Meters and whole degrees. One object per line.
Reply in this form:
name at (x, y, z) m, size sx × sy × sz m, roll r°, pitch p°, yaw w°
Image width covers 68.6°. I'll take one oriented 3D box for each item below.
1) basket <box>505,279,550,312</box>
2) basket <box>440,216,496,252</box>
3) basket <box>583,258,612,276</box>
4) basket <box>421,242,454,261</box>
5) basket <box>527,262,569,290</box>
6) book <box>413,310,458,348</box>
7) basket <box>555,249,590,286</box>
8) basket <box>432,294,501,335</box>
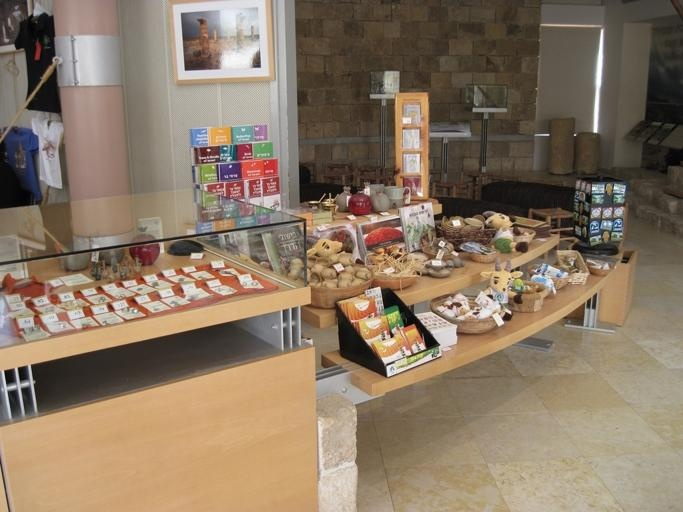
basket at (1.307, 0.272, 3.567) m, size 0.371 × 0.131 × 0.284 m, roll 10°, pitch 30°, yaw 22°
basket at (1.004, -0.174, 3.913) m, size 0.380 × 0.139 × 0.289 m, roll -3°, pitch 15°, yaw -21°
basket at (2.236, 0.099, 4.365) m, size 0.191 × 0.054 × 0.170 m, roll 4°, pitch 14°, yaw 19°
basket at (0.710, -0.034, 3.635) m, size 0.184 × 0.063 × 0.158 m, roll 1°, pitch 12°, yaw 1°
basket at (1.628, 0.184, 3.932) m, size 0.265 × 0.101 × 0.271 m, roll 5°, pitch 13°, yaw -4°
book at (0.590, 0.470, 3.028) m, size 0.220 × 0.114 × 0.271 m, roll -8°, pitch 22°, yaw -28°
basket at (1.953, 0.096, 4.248) m, size 0.273 × 0.136 × 0.360 m, roll 1°, pitch 25°, yaw 4°
basket at (0.807, 0.368, 3.151) m, size 0.350 × 0.096 × 0.306 m, roll -6°, pitch 16°, yaw -18°
